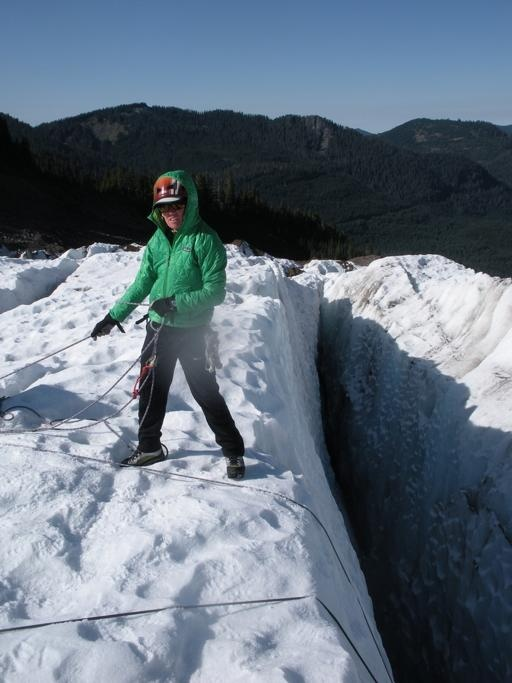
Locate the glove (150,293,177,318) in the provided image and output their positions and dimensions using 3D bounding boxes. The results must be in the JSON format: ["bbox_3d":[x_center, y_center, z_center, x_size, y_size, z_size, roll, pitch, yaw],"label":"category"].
[{"bbox_3d":[-0.440,-0.170,2.766,0.114,0.086,0.050,-37,-28,31],"label":"glove"}]

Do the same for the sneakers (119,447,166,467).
[{"bbox_3d":[-0.592,0.580,3.022,0.223,0.092,0.081,-6,13,-31],"label":"sneakers"}]

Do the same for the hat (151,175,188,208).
[{"bbox_3d":[-0.437,-0.709,2.776,0.210,0.169,0.109,22,27,36],"label":"hat"}]

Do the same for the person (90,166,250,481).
[{"bbox_3d":[-0.419,-0.062,2.949,0.859,1.538,0.566,21,27,37],"label":"person"}]

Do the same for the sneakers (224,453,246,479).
[{"bbox_3d":[-0.114,0.657,3.035,0.093,0.121,0.262,0,-10,-1],"label":"sneakers"}]

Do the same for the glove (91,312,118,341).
[{"bbox_3d":[-0.815,-0.093,3.062,0.162,0.066,0.090,-34,-15,-3],"label":"glove"}]
